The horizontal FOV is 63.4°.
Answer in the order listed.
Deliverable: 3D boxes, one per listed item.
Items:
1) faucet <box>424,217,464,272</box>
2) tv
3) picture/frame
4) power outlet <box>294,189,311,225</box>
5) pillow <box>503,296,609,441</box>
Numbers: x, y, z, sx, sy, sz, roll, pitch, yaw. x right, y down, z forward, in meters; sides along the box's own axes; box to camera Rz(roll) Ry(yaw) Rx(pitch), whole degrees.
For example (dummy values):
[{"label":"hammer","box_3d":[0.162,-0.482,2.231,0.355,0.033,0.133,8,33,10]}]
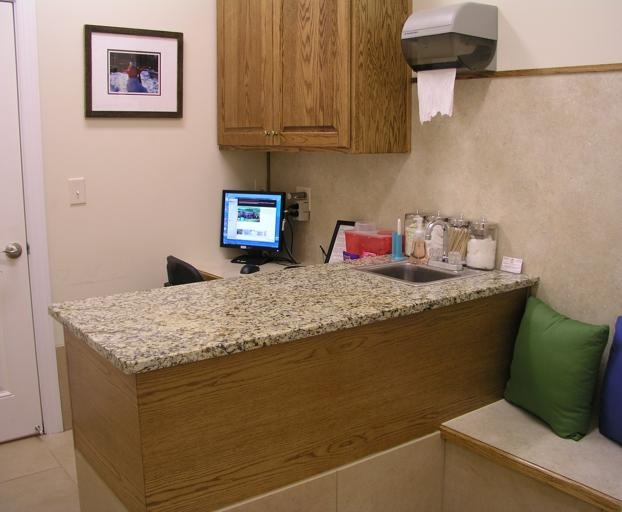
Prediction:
[{"label":"faucet","box_3d":[0.616,-0.047,2.317,0.160,0.233,0.202,-7,13,-44]},{"label":"tv","box_3d":[-0.386,-0.200,3.277,0.434,0.459,0.157,3,6,18]},{"label":"picture/frame","box_3d":[-1.045,-1.073,2.890,0.556,0.515,0.044,-2,6,-31]},{"label":"power outlet","box_3d":[-0.064,-0.340,3.337,0.056,0.236,0.137,-6,13,-32]},{"label":"pillow","box_3d":[0.953,0.444,1.927,0.207,0.440,0.430,-2,9,-22]}]
